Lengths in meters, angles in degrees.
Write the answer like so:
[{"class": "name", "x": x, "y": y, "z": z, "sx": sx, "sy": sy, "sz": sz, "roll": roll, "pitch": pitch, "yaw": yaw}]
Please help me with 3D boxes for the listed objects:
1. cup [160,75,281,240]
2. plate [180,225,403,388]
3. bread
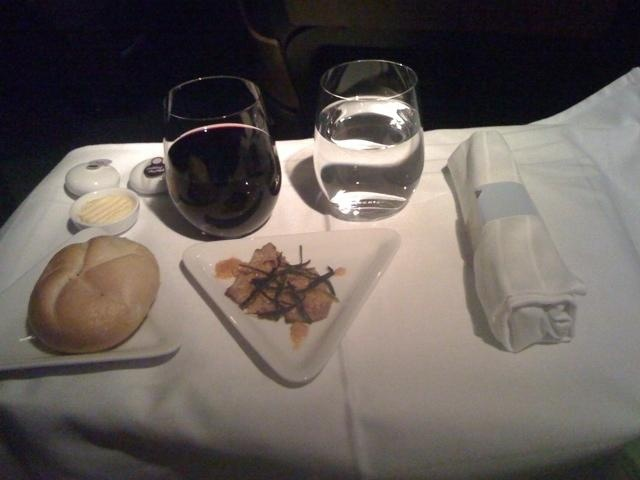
[{"class": "cup", "x": -0.169, "y": -0.131, "z": 0.804, "sx": 0.198, "sy": 0.204, "sz": 0.262, "roll": -12, "pitch": 84, "yaw": 33}, {"class": "plate", "x": -0.044, "y": 0.022, "z": 0.715, "sx": 0.291, "sy": 0.067, "sz": 0.294, "roll": 36, "pitch": 72, "yaw": 17}, {"class": "bread", "x": -0.349, "y": 0.060, "z": 0.708, "sx": 0.183, "sy": 0.069, "sz": 0.228, "roll": 3, "pitch": 39, "yaw": -14}]
